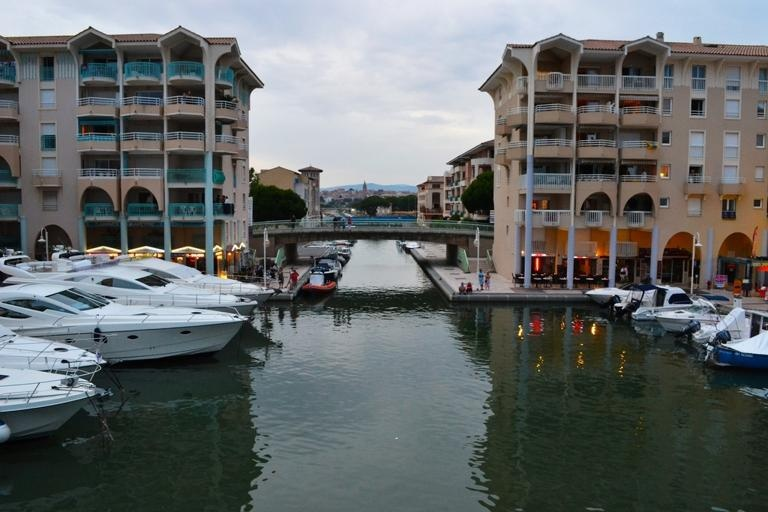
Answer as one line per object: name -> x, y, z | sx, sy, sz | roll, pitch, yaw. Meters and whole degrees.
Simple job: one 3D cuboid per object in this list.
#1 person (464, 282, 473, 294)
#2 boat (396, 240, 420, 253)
person -> 7.284, 2.779, 64.326 | 0.769, 0.389, 0.913 | 1, -19, -2
boat -> 3.953, -1.541, 124.007 | 2.043, 1.250, 4.464 | 0, 8, -4
